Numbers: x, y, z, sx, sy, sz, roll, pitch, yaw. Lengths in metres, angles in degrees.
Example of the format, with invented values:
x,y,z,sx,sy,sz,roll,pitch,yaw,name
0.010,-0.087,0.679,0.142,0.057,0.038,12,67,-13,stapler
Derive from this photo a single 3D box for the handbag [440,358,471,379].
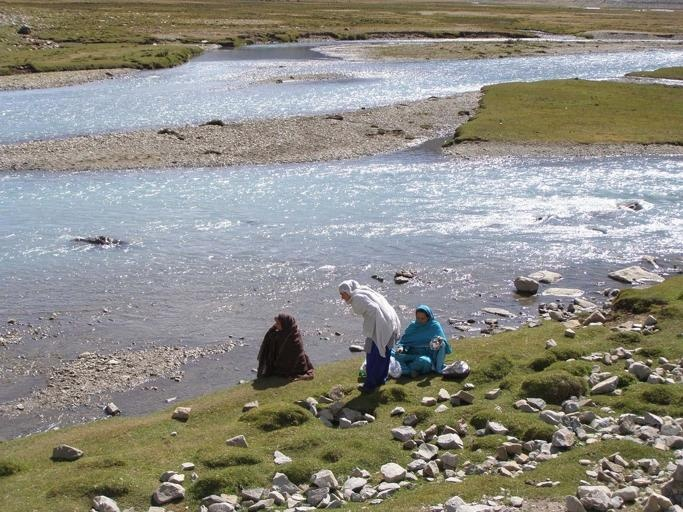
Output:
x,y,z,sx,sy,sz,roll,pitch,yaw,name
3.530,3.554,27.568,0.730,0.210,0.812,-11,9,-30,handbag
